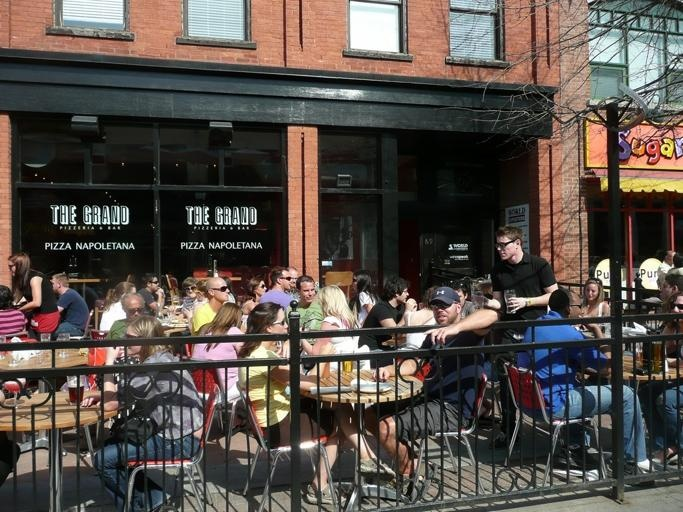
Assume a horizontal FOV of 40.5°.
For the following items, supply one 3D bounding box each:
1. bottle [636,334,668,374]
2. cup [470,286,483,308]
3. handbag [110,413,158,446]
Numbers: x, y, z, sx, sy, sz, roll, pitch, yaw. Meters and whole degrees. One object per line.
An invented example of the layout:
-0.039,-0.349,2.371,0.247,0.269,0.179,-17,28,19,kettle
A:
4.028,1.303,11.961,0.409,0.551,0.462,1,-4,2,bottle
2.142,0.656,14.602,0.231,0.252,0.288,0,-9,7,cup
-2.532,2.114,11.190,0.492,0.211,0.490,-2,2,0,handbag
